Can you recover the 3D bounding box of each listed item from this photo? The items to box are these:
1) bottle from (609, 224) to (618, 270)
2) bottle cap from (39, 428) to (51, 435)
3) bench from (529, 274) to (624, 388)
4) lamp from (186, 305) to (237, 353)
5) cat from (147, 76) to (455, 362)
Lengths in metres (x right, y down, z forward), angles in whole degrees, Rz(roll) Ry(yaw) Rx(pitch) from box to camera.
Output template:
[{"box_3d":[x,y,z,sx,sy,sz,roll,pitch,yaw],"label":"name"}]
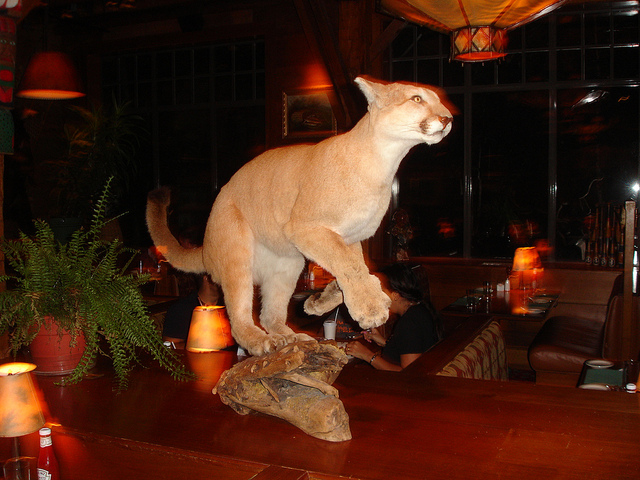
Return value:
[{"box_3d":[3.174,0.077,5.278,0.092,0.384,0.477,4,9,31],"label":"bottle"},{"box_3d":[-0.745,0.520,1.319,0.019,0.005,0.020,3,0,6],"label":"bottle cap"},{"box_3d":[2.158,0.756,4.100,0.675,1.060,0.725,1,3,28],"label":"bench"},{"box_3d":[-0.486,0.394,2.153,0.220,0.203,0.219,-3,-5,-26],"label":"lamp"},{"box_3d":[-0.164,-0.047,1.714,1.151,0.907,0.328,2,2,28],"label":"cat"}]
